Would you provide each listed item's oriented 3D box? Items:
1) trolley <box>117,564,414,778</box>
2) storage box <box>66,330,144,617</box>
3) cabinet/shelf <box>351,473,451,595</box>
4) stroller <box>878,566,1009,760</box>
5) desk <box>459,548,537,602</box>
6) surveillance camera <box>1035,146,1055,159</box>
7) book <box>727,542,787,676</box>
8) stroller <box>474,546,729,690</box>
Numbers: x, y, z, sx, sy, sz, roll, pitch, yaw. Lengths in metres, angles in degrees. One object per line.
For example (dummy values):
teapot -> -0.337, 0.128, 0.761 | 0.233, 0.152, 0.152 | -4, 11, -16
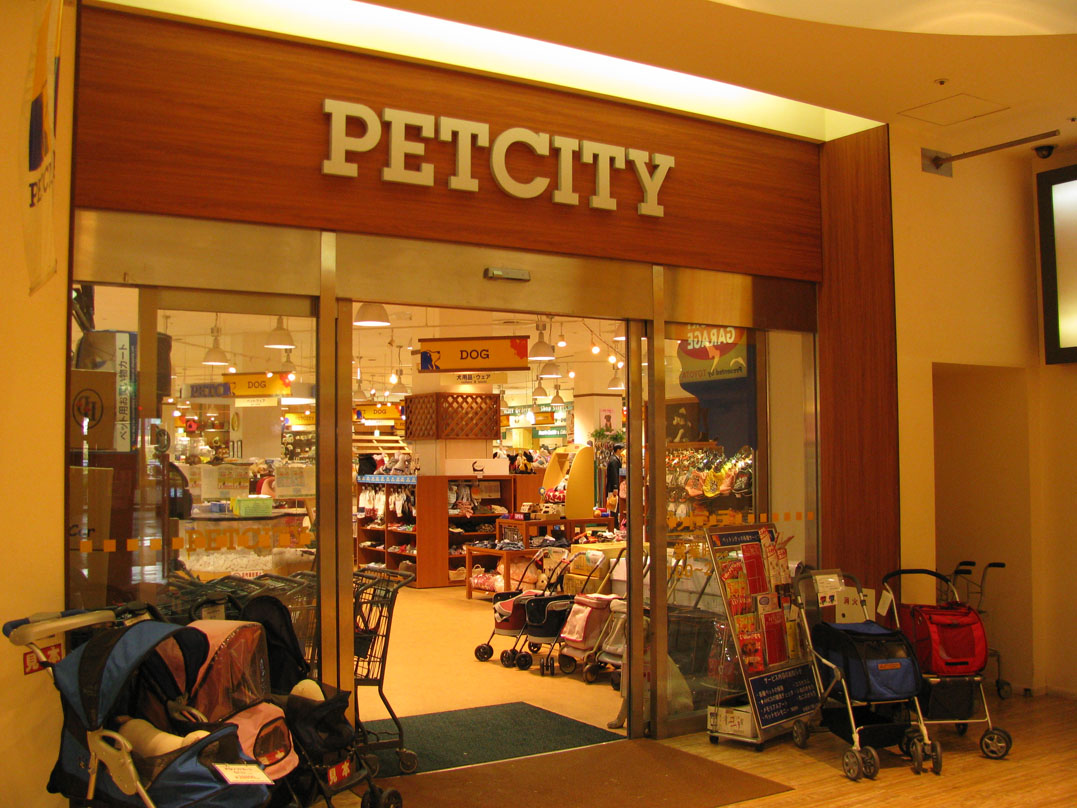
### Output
trolley -> -1.665, 1.683, 6.012 | 1.702, 1.495, 0.963 | 8, -12, -40
storage box -> -2.554, 0.374, 5.348 | 0.344, 1.588, 0.130 | 1, -1, -27
cabinet/shelf -> -2.064, 1.621, 13.413 | 1.460, 1.155, 0.472 | -1, -1, 43
stroller -> 2.951, 1.869, 6.733 | 0.762, 1.244, 0.935 | 4, -4, 2
desk -> -0.580, 2.275, 12.213 | 0.900, 0.569, 0.507 | -6, -3, -5
surveillance camera -> 4.353, -2.183, 7.856 | 0.098, 0.069, 0.101 | -2, -4, 27
book -> 1.606, 1.486, 6.741 | 0.279, 0.924, 0.600 | 0, -1, 43
stroller -> 0.510, 2.052, 9.000 | 1.967, 1.088, 1.153 | 9, -11, -43
